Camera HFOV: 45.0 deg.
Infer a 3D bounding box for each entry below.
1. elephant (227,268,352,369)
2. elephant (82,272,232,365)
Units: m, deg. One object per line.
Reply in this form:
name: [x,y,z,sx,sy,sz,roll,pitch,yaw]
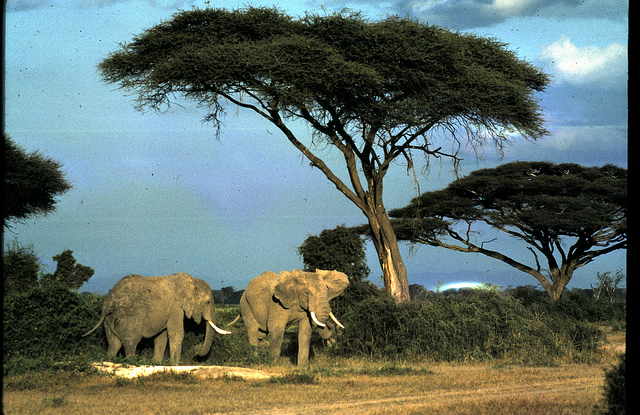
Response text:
elephant: [-1.311,4.228,29.385,5.254,3.718,2.978,-4,-5,44]
elephant: [-5.852,4.169,28.153,5.531,3.407,2.383,2,-2,-34]
